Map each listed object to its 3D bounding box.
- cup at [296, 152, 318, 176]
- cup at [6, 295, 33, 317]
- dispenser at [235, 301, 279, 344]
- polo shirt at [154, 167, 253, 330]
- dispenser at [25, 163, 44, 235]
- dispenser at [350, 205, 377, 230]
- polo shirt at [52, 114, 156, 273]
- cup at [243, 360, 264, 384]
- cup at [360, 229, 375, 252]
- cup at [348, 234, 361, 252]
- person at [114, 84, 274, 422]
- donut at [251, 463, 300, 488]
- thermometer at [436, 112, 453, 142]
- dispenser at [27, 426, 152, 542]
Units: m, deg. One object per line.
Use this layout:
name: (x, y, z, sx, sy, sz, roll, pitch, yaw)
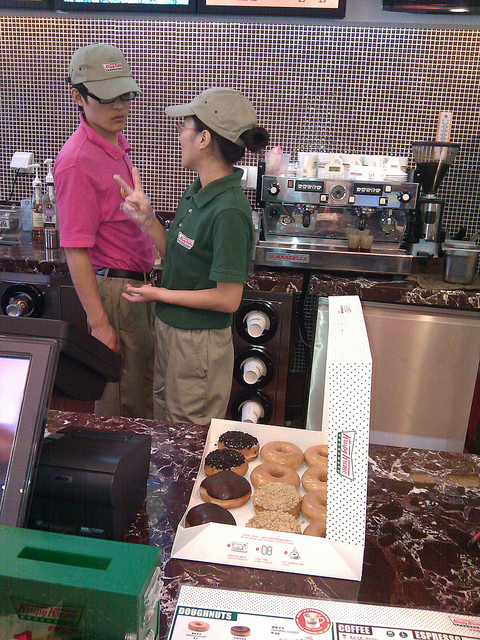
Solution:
cup: (0.346, -0.790, 2.534, 0.103, 0.110, 0.064, 5, 9, 3)
cup: (-1.064, -0.071, 2.404, 0.069, 0.066, 0.067, 8, 37, -6)
dispenser: (0.061, 0.002, 2.495, 0.262, 0.194, 0.205, -1, 21, -26)
polo shirt: (-0.130, -0.281, 1.721, 0.272, 0.494, 0.499, -2, 24, -28)
dispenser: (-1.213, -0.682, 2.966, 0.067, 0.335, 0.192, 1, 10, -23)
dispenser: (0.619, -0.511, 2.494, 0.139, 0.112, 0.121, 6, 10, 7)
polo shirt: (-0.533, -0.427, 1.994, 0.284, 0.702, 0.556, 4, 22, 7)
cup: (0.062, 0.243, 2.436, 0.098, 0.101, 0.079, -5, 21, 17)
cup: (0.635, -0.402, 2.508, 0.070, 0.112, 0.137, 7, 10, 15)
cup: (0.563, -0.379, 2.452, 0.056, 0.085, 0.081, 6, 10, 11)
person: (-0.272, -0.197, 1.840, 0.429, 1.171, 0.808, -1, 11, -30)
donut: (0.066, 0.282, 0.919, 0.049, 0.018, 0.048, 3, 13, -7)
thermometer: (1.075, -1.000, 2.616, 0.063, 0.164, 0.213, 8, 10, 19)
dispenser: (-0.224, 0.224, 0.774, 0.151, 0.106, 0.161, 5, 26, 9)
